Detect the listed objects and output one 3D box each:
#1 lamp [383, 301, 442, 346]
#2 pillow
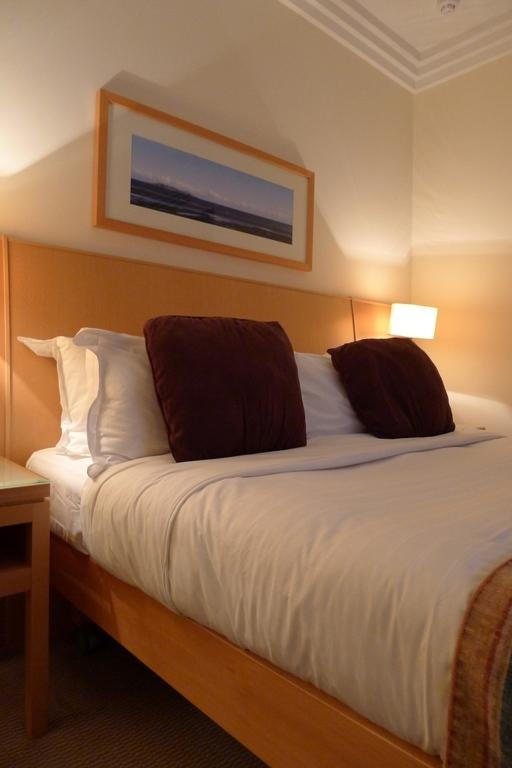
[{"bbox_3d":[0.812,-0.331,3.129,0.203,0.349,0.210,11,5,1],"label":"lamp"},{"bbox_3d":[0.026,0.027,1.908,1.472,0.358,0.518,0,4,-34],"label":"pillow"}]
